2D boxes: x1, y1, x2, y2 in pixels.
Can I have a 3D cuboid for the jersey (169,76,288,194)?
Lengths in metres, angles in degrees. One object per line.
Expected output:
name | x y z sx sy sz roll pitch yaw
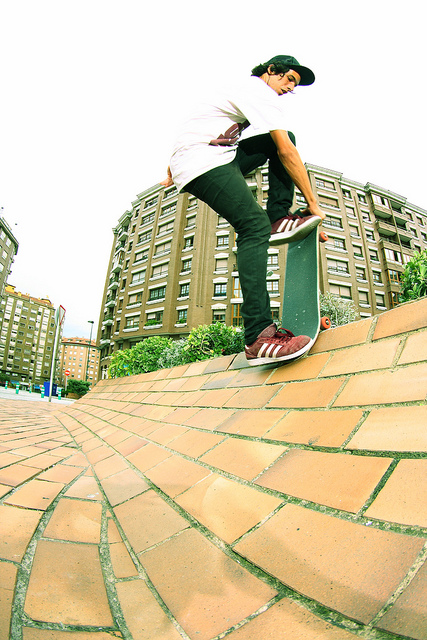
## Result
jersey | 0.069 -1.136 2.136 0.742 0.679 0.294 -7 -22 27

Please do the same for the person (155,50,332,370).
person | 0.227 -0.800 2.330 1.155 1.833 0.797 -1 4 8
